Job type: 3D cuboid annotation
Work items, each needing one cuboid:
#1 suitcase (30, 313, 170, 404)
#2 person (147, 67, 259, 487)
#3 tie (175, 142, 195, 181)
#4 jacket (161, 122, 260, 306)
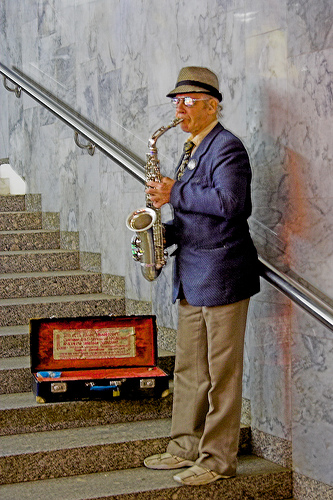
[{"bbox_3d":[-0.315,0.511,2.808,0.612,0.411,0.347,1,-5,-18],"label":"suitcase"},{"bbox_3d":[0.102,0.094,2.353,0.474,1.610,0.357,-1,-1,21],"label":"person"},{"bbox_3d":[0.063,-0.351,2.417,0.035,0.147,0.104,16,17,1],"label":"tie"},{"bbox_3d":[0.159,-0.095,2.335,0.337,0.729,0.350,2,13,-25],"label":"jacket"}]
